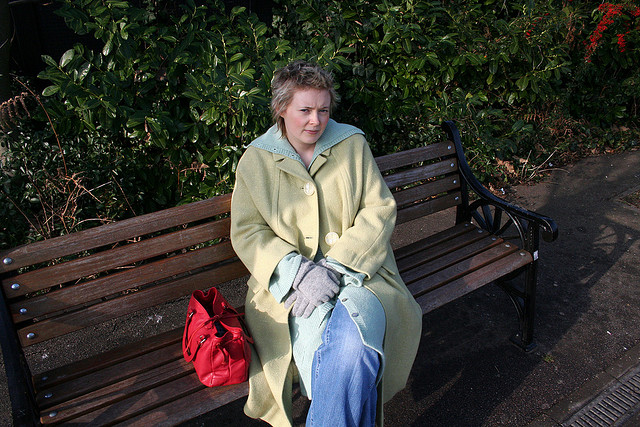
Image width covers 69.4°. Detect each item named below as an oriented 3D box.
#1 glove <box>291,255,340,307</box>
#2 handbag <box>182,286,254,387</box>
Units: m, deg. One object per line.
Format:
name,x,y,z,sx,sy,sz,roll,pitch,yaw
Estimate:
glove,-0.030,0.471,3.153,0.302,0.210,0.218,12,30,22
handbag,-0.713,0.798,3.190,0.489,0.291,0.743,-9,25,-24
